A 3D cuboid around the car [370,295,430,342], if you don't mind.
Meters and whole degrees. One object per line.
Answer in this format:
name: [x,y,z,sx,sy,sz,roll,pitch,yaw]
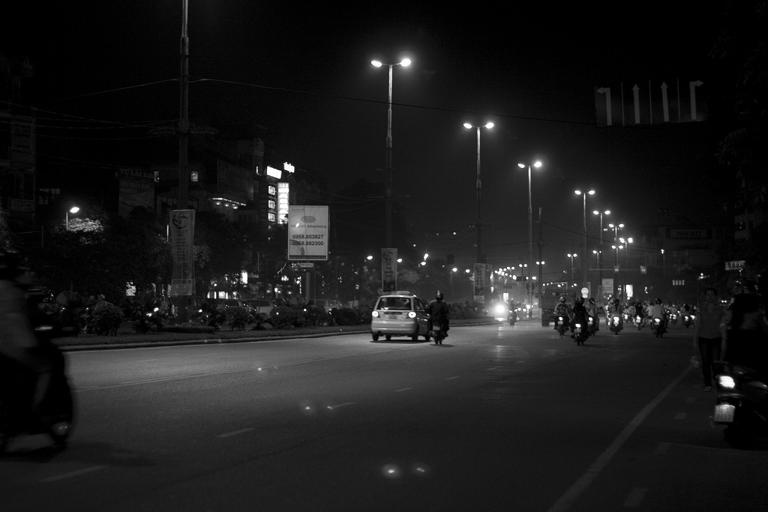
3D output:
car: [1.014,2.771,35.112,1.622,1.432,2.955,0,0,15]
